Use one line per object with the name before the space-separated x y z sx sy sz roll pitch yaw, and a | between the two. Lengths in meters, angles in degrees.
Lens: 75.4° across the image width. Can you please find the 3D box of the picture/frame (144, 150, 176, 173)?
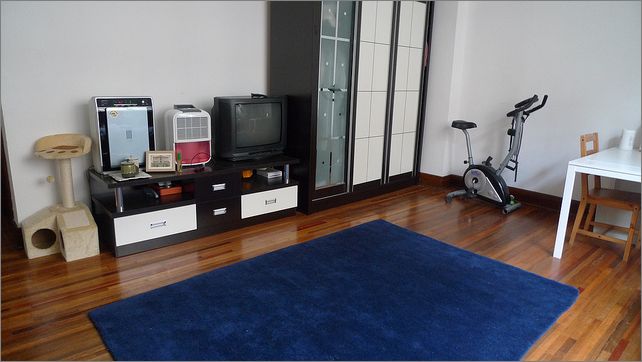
picture/frame | -1.982 -0.233 5.048 0.313 0.235 0.023 -1 0 -16

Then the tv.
tv | -1.052 -0.756 5.772 0.653 0.815 1.059 14 19 39

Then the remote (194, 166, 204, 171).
remote | -1.537 -0.148 5.178 0.079 0.026 0.077 9 16 27

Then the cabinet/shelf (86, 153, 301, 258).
cabinet/shelf | -1.570 0.196 5.551 2.523 0.845 0.849 -11 20 -43
